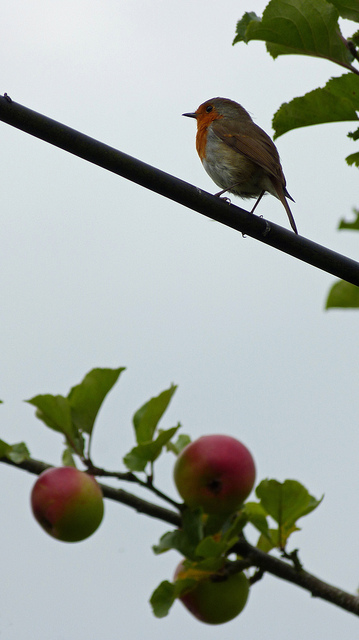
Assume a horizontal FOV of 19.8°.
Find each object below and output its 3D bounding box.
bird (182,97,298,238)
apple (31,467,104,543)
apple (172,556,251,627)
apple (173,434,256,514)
[{"bbox_3d":[0.248,-0.610,3.957,0.495,0.621,0.253,-1,-25,24],"label":"bird"},{"bbox_3d":[-0.189,0.310,1.734,0.119,0.120,0.107,6,13,-9],"label":"apple"},{"bbox_3d":[0.066,0.461,1.769,0.143,0.121,0.194,1,3,-4],"label":"apple"},{"bbox_3d":[0.059,0.260,1.737,0.134,0.107,0.111,9,13,2],"label":"apple"}]
